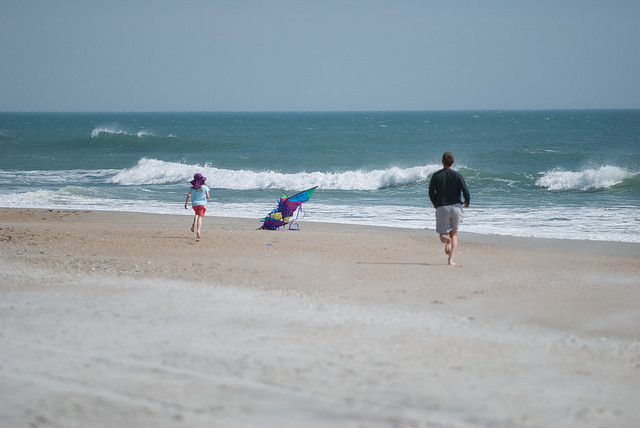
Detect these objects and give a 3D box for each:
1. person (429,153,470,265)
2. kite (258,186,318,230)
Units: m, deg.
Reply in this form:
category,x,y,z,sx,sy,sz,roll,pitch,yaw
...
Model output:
category,x,y,z,sx,sy,sz,roll,pitch,yaw
person,2.058,-0.145,12.122,0.631,1.638,0.497,2,6,14
kite,-0.802,-0.058,16.988,1.086,0.449,1.060,-31,8,-10
